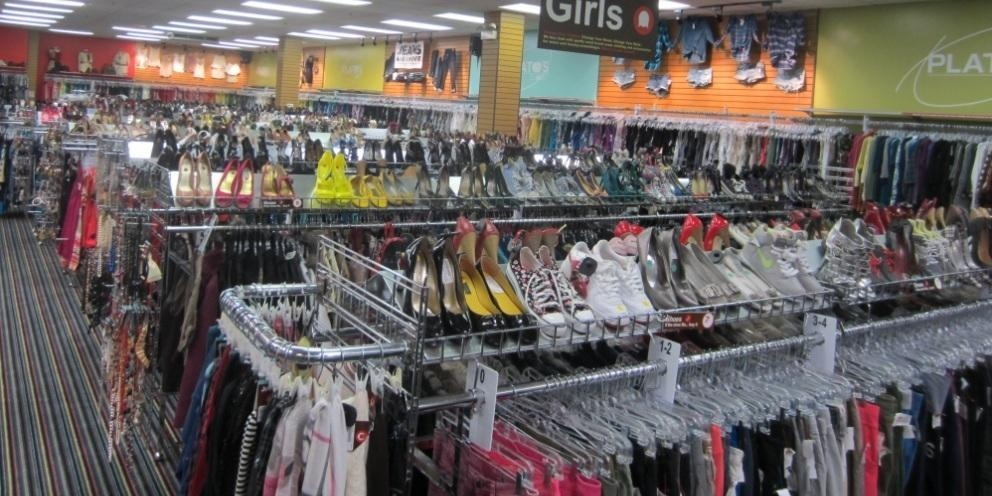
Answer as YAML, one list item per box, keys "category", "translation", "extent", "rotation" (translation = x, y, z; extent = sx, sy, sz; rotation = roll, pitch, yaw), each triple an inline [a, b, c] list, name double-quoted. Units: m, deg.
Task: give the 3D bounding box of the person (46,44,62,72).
- category: "person"
  translation: [-15.842, -6.761, 23.703]
  extent: [0.499, 0.980, 0.849]
  rotation: [-3, 9, -33]
